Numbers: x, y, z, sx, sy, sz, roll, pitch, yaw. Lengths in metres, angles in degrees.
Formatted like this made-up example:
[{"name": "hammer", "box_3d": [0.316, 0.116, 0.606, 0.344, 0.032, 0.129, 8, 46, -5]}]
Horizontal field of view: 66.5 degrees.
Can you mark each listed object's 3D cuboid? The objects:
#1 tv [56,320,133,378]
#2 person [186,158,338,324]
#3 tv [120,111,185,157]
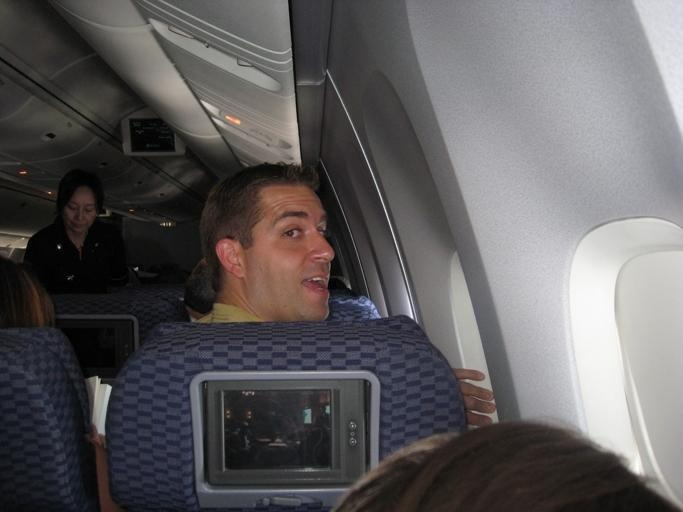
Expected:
[{"name": "tv", "box_3d": [-1.103, 0.408, 2.401, 0.443, 0.300, 0.099, -2, 9, -5]}, {"name": "person", "box_3d": [-0.299, -0.058, 2.422, 0.667, 0.924, 0.546, -1, 1, -6]}, {"name": "tv", "box_3d": [-1.804, -1.121, 4.908, 0.440, 0.299, 0.605, -3, -15, 1]}]
